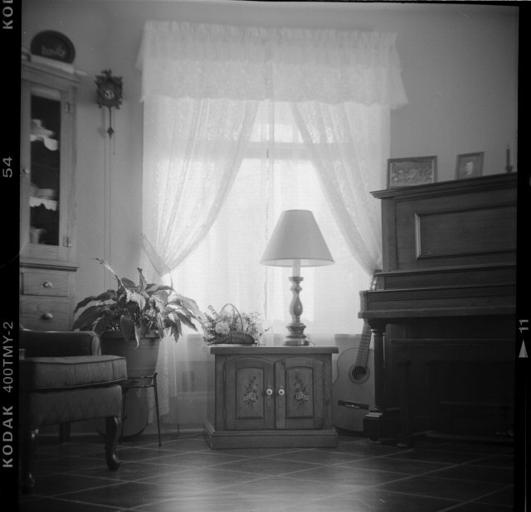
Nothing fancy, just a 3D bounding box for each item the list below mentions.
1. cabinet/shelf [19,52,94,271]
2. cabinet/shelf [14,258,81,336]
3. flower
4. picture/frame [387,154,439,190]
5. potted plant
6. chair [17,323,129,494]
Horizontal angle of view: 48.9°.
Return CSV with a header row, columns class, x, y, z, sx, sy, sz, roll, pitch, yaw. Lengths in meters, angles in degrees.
class,x,y,z,sx,sy,sz,roll,pitch,yaw
cabinet/shelf,-0.842,-0.366,2.267,0.150,0.833,0.357,2,3,29
cabinet/shelf,-0.825,0.158,2.326,0.237,0.361,0.199,1,-2,-44
flower,-0.160,0.331,2.569,0.183,0.131,0.224,6,-19,-14
picture/frame,0.631,-0.361,2.522,0.208,0.137,0.046,2,3,18
potted plant,-0.542,0.280,2.592,0.382,0.514,0.411,6,19,10
chair,-0.759,0.507,2.111,0.416,0.554,0.476,1,-10,-27
